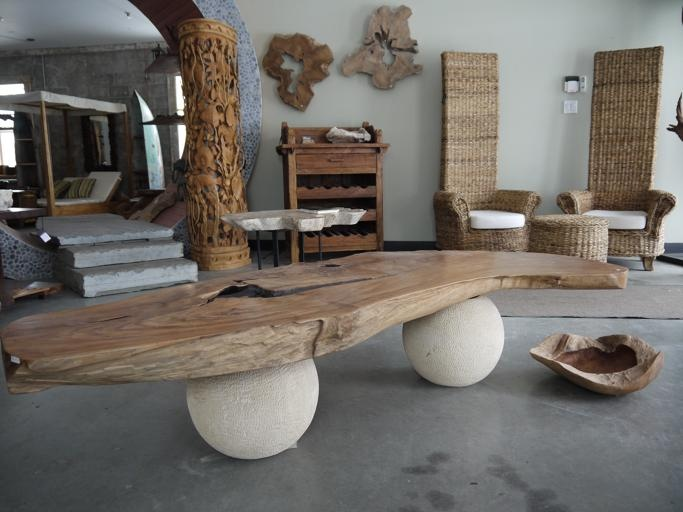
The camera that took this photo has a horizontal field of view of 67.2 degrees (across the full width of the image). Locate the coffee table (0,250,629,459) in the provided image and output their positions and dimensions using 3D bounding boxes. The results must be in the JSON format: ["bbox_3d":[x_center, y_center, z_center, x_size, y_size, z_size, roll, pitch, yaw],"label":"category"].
[{"bbox_3d":[-0.136,0.427,2.110,2.067,0.688,0.639,-5,15,-26],"label":"coffee table"}]

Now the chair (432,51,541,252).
[{"bbox_3d":[1.393,-0.998,4.955,0.914,1.901,1.048,0,15,1],"label":"chair"}]

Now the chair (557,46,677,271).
[{"bbox_3d":[2.687,-0.937,4.828,0.833,1.953,1.161,6,16,21],"label":"chair"}]

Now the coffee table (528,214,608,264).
[{"bbox_3d":[1.863,-0.103,4.347,0.722,0.347,0.649,-1,-6,-32],"label":"coffee table"}]

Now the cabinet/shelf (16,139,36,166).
[{"bbox_3d":[-6.070,-1.963,9.871,0.416,0.477,0.092,2,17,6],"label":"cabinet/shelf"}]
